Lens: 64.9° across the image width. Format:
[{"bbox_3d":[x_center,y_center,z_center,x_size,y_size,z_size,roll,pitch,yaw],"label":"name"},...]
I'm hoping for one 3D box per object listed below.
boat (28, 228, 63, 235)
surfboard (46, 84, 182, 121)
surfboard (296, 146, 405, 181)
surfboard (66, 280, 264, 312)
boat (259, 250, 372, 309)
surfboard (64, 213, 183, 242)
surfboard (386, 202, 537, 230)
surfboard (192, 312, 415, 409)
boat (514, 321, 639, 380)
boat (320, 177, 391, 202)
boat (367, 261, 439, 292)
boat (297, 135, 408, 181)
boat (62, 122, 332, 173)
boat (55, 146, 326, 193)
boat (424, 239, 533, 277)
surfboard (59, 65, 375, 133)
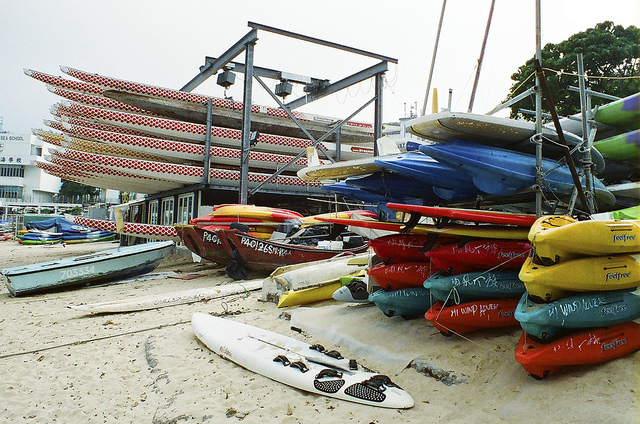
[{"bbox_3d":[-16.250,1.120,29.501,2.461,0.187,0.591,8,-8,10],"label":"boat"},{"bbox_3d":[-8.084,-4.278,19.796,6.482,0.481,0.588,13,-14,16],"label":"surfboard"},{"bbox_3d":[0.574,-1.180,12.183,2.121,0.446,1.257,-1,-6,23],"label":"surfboard"},{"bbox_3d":[-3.480,1.981,11.701,4.446,0.161,0.486,-6,13,-9],"label":"surfboard"},{"bbox_3d":[0.371,1.584,12.113,3.530,0.483,1.053,-1,6,-37],"label":"boat"},{"bbox_3d":[-6.767,0.550,17.734,4.394,0.388,0.762,5,-8,12],"label":"surfboard"},{"bbox_3d":[2.111,0.065,9.060,3.909,0.372,0.729,3,-3,-4],"label":"surfboard"},{"bbox_3d":[-0.554,2.520,8.725,4.322,0.479,1.224,7,6,32],"label":"surfboard"},{"bbox_3d":[3.735,2.088,7.889,2.869,0.536,0.568,-4,27,-16],"label":"boat"},{"bbox_3d":[0.760,-0.632,12.422,0.791,0.590,2.084,-27,12,-22],"label":"boat"},{"bbox_3d":[1.769,1.275,10.123,2.026,0.426,0.672,1,-11,-36],"label":"boat"},{"bbox_3d":[0.767,-1.238,12.234,2.362,0.530,1.393,-4,-1,20],"label":"boat"},{"bbox_3d":[-4.262,-2.362,21.222,12.624,0.857,1.990,5,-6,-39],"label":"boat"},{"bbox_3d":[-4.909,-1.682,19.341,10.247,0.669,1.405,8,-6,-19],"label":"boat"},{"bbox_3d":[3.007,0.920,9.362,2.796,0.497,0.715,4,-26,-31],"label":"boat"},{"bbox_3d":[-5.649,-4.217,20.981,16.638,0.854,1.196,10,-33,2],"label":"surfboard"}]
